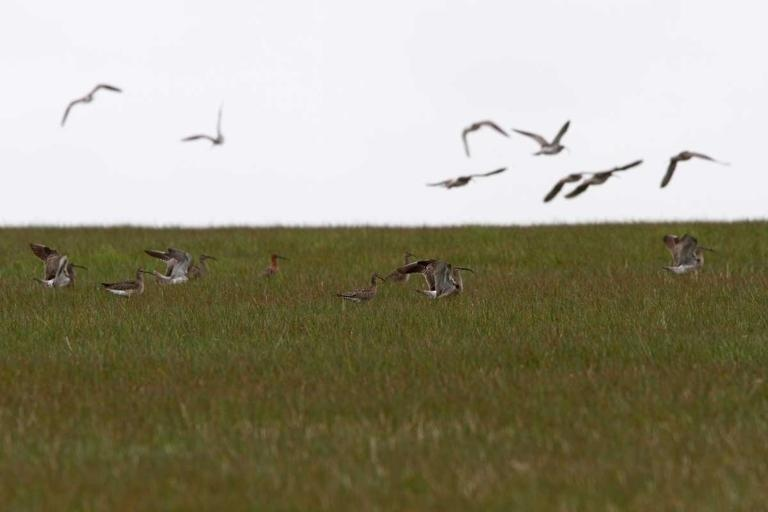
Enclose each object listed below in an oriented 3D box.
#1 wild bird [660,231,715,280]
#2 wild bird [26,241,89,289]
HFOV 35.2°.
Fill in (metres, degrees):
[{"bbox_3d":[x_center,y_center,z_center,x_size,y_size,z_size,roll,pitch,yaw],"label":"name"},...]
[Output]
[{"bbox_3d":[7.802,-0.145,31.440,0.786,0.926,1.798,-1,25,13],"label":"wild bird"},{"bbox_3d":[-8.284,0.202,30.436,0.625,1.300,1.249,-27,-42,-14],"label":"wild bird"}]
